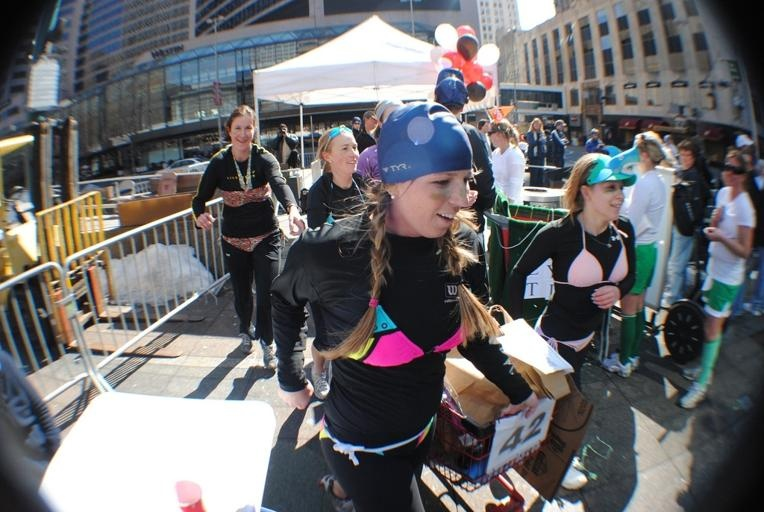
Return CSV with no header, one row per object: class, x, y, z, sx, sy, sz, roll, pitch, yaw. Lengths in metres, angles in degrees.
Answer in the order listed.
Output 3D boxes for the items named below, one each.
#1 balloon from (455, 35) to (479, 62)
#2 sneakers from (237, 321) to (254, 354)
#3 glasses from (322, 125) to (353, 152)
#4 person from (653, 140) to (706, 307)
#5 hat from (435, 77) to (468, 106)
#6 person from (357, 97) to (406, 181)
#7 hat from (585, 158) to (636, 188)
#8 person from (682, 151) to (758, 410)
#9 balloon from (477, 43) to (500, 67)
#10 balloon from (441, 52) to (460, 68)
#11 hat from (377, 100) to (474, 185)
balloon,1.055,-2.576,5.411,0.202,0.241,0.189,-36,39,-30
sneakers,-1.368,0.824,4.492,0.114,0.151,0.355,1,36,-19
glasses,-0.460,-1.113,4.240,0.295,0.136,0.235,-20,6,27
person,2.177,-0.218,3.197,0.226,0.986,0.558,10,11,25
hat,0.658,-1.545,4.088,0.259,0.201,0.390,2,35,1
person,-0.120,-1.164,4.500,0.592,0.821,0.404,-3,6,-38
hat,1.626,-0.604,3.166,0.343,0.205,0.147,-8,13,-24
person,2.148,0.283,2.858,0.199,1.913,0.669,5,14,31
balloon,1.343,-2.568,5.671,0.243,0.220,0.347,0,13,9
balloon,0.871,-2.571,5.817,0.111,0.237,0.419,-6,13,-14
hat,0.190,-0.530,2.101,0.438,0.365,0.332,2,16,32
